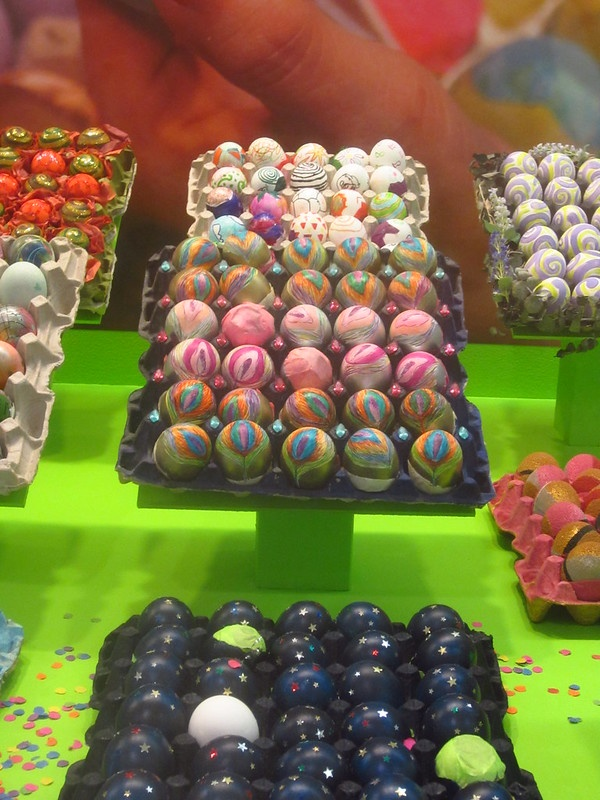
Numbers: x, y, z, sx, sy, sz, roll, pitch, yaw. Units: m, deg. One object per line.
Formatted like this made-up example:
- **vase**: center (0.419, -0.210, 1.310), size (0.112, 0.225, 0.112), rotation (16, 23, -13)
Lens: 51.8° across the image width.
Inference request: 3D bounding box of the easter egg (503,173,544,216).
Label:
- **easter egg**: center (1.117, -1.076, 3.238), size (0.210, 0.188, 0.224), rotation (5, 40, 7)

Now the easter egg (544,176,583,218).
- **easter egg**: center (1.330, -1.053, 3.202), size (0.201, 0.207, 0.186), rotation (-6, 26, 0)

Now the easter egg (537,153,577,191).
- **easter egg**: center (1.336, -1.241, 3.342), size (0.199, 0.177, 0.215), rotation (0, 27, 6)

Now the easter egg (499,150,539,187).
- **easter egg**: center (1.140, -1.253, 3.346), size (0.196, 0.174, 0.212), rotation (7, 30, 8)

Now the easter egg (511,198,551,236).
- **easter egg**: center (1.136, -0.902, 3.032), size (0.187, 0.169, 0.215), rotation (9, 20, 30)

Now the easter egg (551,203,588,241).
- **easter egg**: center (1.304, -0.897, 3.087), size (0.175, 0.184, 0.162), rotation (-13, 30, 6)

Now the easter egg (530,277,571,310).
- **easter egg**: center (1.106, -0.469, 2.708), size (0.200, 0.154, 0.120), rotation (1, 5, -2)

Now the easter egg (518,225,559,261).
- **easter egg**: center (1.103, -0.753, 2.961), size (0.185, 0.168, 0.200), rotation (-11, 30, 12)
